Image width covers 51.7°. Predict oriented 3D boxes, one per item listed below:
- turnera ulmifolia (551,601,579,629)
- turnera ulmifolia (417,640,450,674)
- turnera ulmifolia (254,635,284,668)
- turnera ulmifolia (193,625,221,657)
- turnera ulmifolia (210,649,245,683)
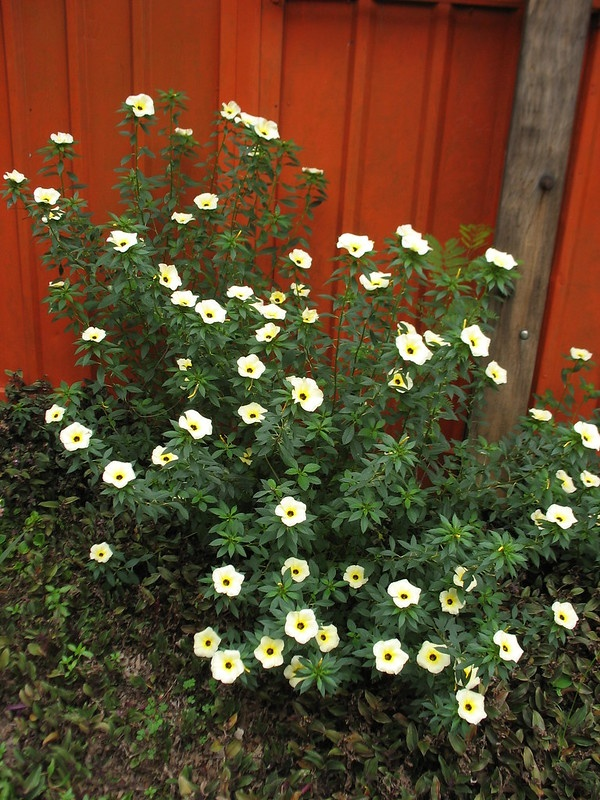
[{"bbox_3d":[0.889,0.722,2.087,0.090,0.041,0.087,-27,69,10],"label":"turnera ulmifolia"},{"bbox_3d":[0.411,0.792,1.915,0.102,0.040,0.096,-2,65,6],"label":"turnera ulmifolia"},{"bbox_3d":[-0.090,0.742,1.834,0.086,0.061,0.076,5,26,-2],"label":"turnera ulmifolia"},{"bbox_3d":[-0.300,0.797,2.020,0.081,0.109,0.085,4,27,-6],"label":"turnera ulmifolia"},{"bbox_3d":[-0.218,0.813,1.906,0.092,0.077,0.094,-6,29,-23],"label":"turnera ulmifolia"}]
